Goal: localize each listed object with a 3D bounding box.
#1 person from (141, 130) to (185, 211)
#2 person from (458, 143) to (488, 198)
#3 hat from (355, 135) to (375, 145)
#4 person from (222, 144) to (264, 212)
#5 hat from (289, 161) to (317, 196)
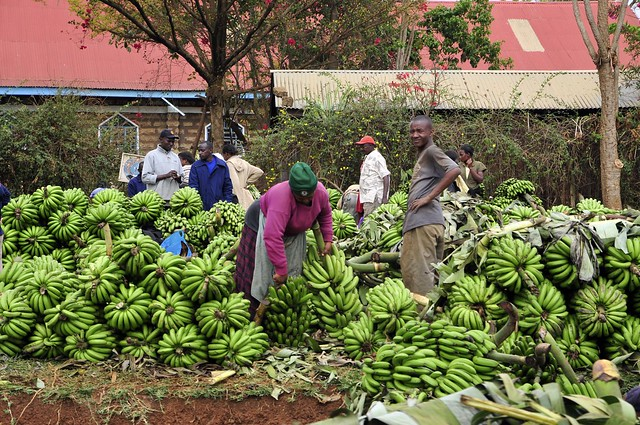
[{"bbox_3d":[-2.784,-0.529,11.478,0.704,1.861,0.578,-9,22,-33],"label":"person"},{"bbox_3d":[2.620,-0.595,11.240,0.563,1.217,0.538,-4,2,-5],"label":"person"},{"bbox_3d":[0.867,-1.329,11.736,0.276,0.162,0.194,0,3,-3],"label":"hat"},{"bbox_3d":[-1.538,-0.480,12.025,0.706,1.625,0.541,-3,22,-10],"label":"person"},{"bbox_3d":[-0.238,-0.439,8.142,0.346,0.315,0.531,-1,24,-11],"label":"hat"}]
